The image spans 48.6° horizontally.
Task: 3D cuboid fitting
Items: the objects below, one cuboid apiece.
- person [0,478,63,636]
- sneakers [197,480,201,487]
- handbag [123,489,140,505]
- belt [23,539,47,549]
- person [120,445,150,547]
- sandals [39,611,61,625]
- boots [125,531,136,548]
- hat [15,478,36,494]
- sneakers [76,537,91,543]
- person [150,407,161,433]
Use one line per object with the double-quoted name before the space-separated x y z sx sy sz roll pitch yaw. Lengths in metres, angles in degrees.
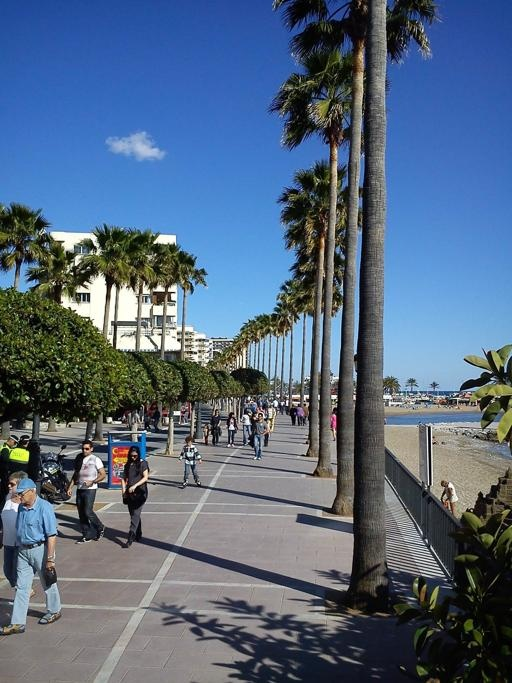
"person" -2.241 2.119 5.722 0.503 1.520 0.562 1 -3 -17
"sneakers" -1.628 4.056 16.244 0.103 0.127 0.190 1 -26 -2
"handbag" -2.105 2.676 9.754 0.255 0.429 0.208 0 -14 -3
"belt" -2.184 2.010 5.646 0.257 0.068 0.102 3 -5 -42
"person" -2.058 2.616 9.708 0.393 1.631 0.569 1 -3 -14
"sandals" -2.117 2.835 5.855 0.073 0.101 0.220 -2 -18 21
"boots" -2.103 3.307 9.573 0.160 0.236 0.470 0 -4 -6
"hat" -2.278 1.420 5.625 0.166 0.138 0.172 1 -4 -25
"sneakers" -2.952 3.402 9.745 0.189 0.076 0.240 1 -4 -14
"person" -6.501 4.941 36.822 0.516 1.608 1.773 1 -3 -12
